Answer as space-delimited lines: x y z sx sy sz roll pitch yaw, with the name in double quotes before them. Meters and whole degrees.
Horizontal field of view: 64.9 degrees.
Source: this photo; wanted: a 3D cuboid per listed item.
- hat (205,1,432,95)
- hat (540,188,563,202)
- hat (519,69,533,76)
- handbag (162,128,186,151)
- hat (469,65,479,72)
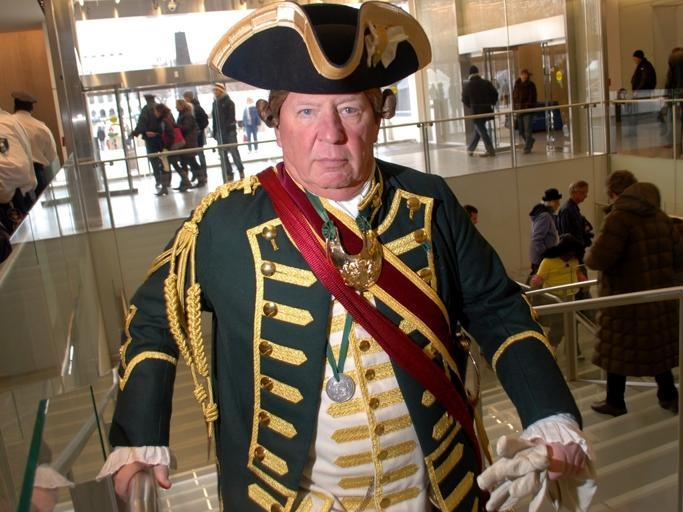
"hat" -0.022 -0.489 1.316 0.589 0.211 0.315 -12 9 -14
"hat" 2.767 -0.804 7.101 0.256 0.131 0.326 -27 8 36
"hat" 2.996 -2.950 8.793 0.141 0.100 0.207 -3 8 10
"handbag" -2.176 -1.488 7.001 0.188 0.281 0.140 -26 -2 -33
"hat" 2.159 -3.021 8.799 0.102 0.130 0.116 -1 9 -3
